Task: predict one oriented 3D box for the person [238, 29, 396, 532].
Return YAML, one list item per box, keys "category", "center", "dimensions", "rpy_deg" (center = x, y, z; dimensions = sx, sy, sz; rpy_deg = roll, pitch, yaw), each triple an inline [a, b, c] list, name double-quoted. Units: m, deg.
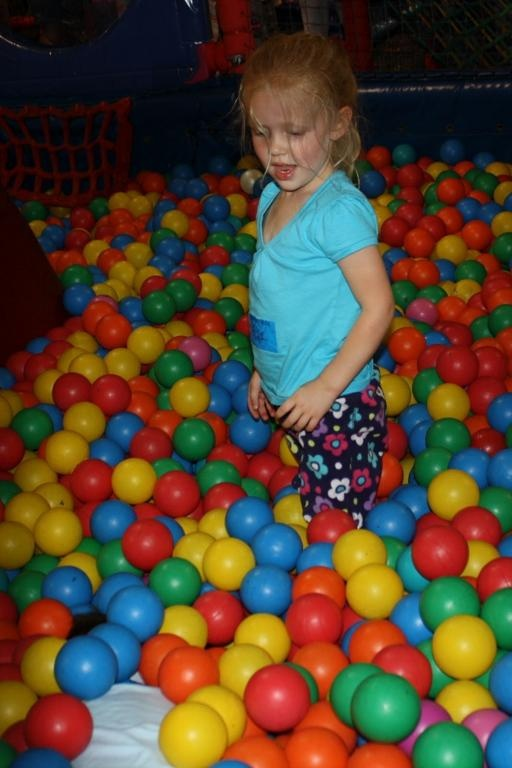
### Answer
- category: "person"
  center: [0.144, -0.193, 1.478]
  dimensions: [0.382, 1.119, 0.468]
  rpy_deg: [-9, 31, -2]
